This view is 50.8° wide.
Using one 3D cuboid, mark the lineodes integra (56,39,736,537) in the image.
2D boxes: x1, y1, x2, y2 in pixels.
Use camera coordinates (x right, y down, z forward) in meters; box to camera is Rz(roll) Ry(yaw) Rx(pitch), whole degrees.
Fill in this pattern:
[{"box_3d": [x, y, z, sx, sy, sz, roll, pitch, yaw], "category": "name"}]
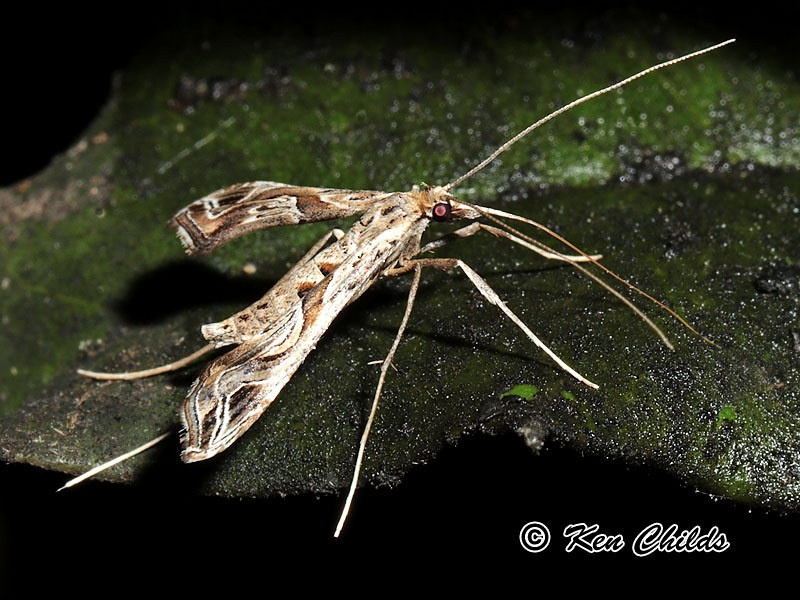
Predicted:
[{"box_3d": [-0.374, 0.072, 4.694, 2.882, 0.914, 1.859, -28, 59, 0], "category": "lineodes integra"}]
